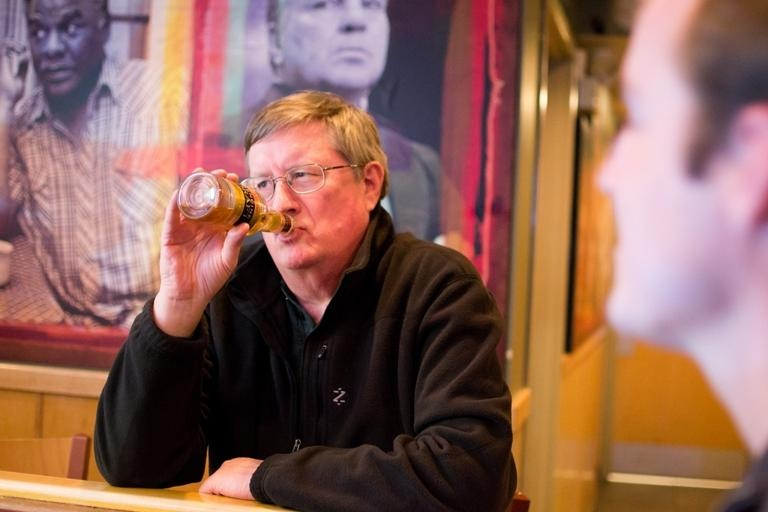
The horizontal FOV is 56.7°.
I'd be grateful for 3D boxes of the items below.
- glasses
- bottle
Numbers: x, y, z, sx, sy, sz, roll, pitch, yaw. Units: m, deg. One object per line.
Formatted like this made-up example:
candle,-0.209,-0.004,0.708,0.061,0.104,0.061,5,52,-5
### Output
glasses,-0.301,-0.221,2.153,0.205,0.058,0.207,-16,1,-33
bottle,-0.436,-0.144,2.089,0.140,0.129,0.417,-10,-18,28
